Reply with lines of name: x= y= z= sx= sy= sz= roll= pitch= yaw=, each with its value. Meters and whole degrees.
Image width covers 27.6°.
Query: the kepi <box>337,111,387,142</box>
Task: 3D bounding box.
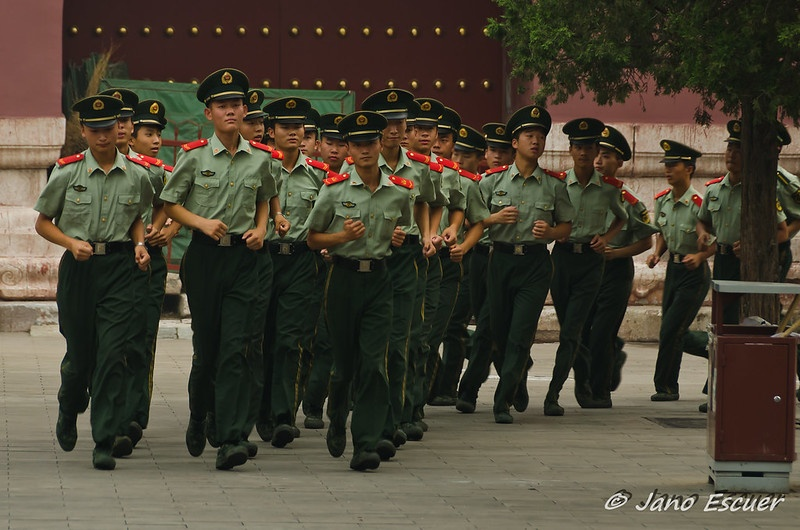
kepi: x=-0.329 y=-1.235 z=14.446 sx=0.438 sy=0.261 sz=0.269 roll=0 pitch=8 yaw=-3

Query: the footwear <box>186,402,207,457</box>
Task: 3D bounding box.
footwear: x=-1.848 y=1.493 z=14.678 sx=0.173 sy=0.437 sz=0.191 roll=-5 pitch=17 yaw=-19

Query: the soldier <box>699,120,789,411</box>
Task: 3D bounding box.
soldier: x=3.637 y=-0.026 z=17.436 sx=0.860 sy=3.072 sz=1.161 roll=2 pitch=8 yaw=9

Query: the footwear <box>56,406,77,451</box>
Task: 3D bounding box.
footwear: x=-3.013 y=1.491 z=14.754 sx=0.159 sy=0.412 sz=0.195 roll=-16 pitch=25 yaw=-41

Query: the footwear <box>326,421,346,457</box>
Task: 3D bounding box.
footwear: x=-0.582 y=1.572 z=14.715 sx=0.142 sy=0.339 sz=0.156 roll=-4 pitch=25 yaw=-9

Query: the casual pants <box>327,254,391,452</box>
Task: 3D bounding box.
casual pants: x=-0.369 y=0.787 z=14.352 sx=0.578 sy=1.658 sz=0.494 roll=1 pitch=8 yaw=1

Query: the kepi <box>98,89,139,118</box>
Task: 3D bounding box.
kepi: x=-2.740 y=-1.595 z=15.984 sx=0.449 sy=0.225 sz=0.464 roll=-1 pitch=-4 yaw=-3

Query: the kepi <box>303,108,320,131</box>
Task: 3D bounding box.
kepi: x=-0.908 y=-1.478 z=16.767 sx=0.226 sy=0.140 sz=0.214 roll=4 pitch=-40 yaw=-5

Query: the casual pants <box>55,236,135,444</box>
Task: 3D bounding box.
casual pants: x=-2.671 y=0.662 z=14.497 sx=0.628 sy=1.697 sz=0.820 roll=-4 pitch=9 yaw=-31

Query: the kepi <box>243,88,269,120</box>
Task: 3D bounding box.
kepi: x=-1.441 y=-1.591 z=16.141 sx=0.331 sy=0.202 sz=0.360 roll=0 pitch=-15 yaw=-28

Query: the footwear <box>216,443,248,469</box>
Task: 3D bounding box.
footwear: x=-1.476 y=1.682 z=14.253 sx=0.274 sy=0.241 sz=0.222 roll=-1 pitch=8 yaw=-12

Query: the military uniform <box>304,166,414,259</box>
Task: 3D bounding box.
military uniform: x=-0.326 y=-0.455 z=14.555 sx=0.969 sy=0.668 sz=0.445 roll=2 pitch=-9 yaw=-19

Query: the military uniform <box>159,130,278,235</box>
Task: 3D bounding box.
military uniform: x=-1.614 y=-0.720 z=14.721 sx=1.091 sy=0.779 sz=0.447 roll=5 pitch=-14 yaw=-20

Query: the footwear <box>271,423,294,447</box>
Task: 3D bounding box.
footwear: x=-1.090 y=1.589 z=15.106 sx=0.138 sy=0.261 sz=0.124 roll=10 pitch=42 yaw=-11

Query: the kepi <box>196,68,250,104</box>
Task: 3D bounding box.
kepi: x=-1.587 y=-1.574 z=14.720 sx=0.544 sy=0.255 sz=0.541 roll=-5 pitch=-9 yaw=-27

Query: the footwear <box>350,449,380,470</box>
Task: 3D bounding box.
footwear: x=-0.311 y=1.715 z=14.275 sx=0.253 sy=0.201 sz=0.163 roll=0 pitch=8 yaw=-3

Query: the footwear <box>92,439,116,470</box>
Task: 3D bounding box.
footwear: x=-2.609 y=1.652 z=14.274 sx=0.190 sy=0.255 sz=0.265 roll=0 pitch=8 yaw=-10
